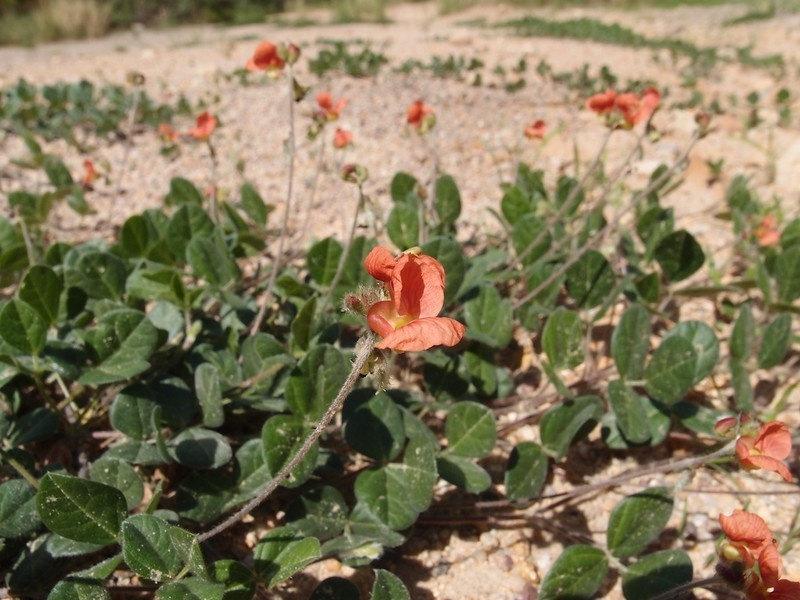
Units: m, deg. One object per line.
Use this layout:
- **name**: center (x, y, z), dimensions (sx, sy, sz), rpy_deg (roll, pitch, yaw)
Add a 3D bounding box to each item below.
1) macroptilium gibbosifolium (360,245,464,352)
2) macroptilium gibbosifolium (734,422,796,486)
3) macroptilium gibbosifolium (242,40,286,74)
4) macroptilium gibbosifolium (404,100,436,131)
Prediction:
- **macroptilium gibbosifolium**: center (0.053, 0.003, 6.716), dimensions (0.253, 0.666, 0.549), rpy_deg (7, 8, 41)
- **macroptilium gibbosifolium**: center (2.198, 0.884, 6.829), dimensions (0.331, 0.293, 0.190), rpy_deg (9, 24, 19)
- **macroptilium gibbosifolium**: center (-0.871, -1.560, 7.293), dimensions (0.272, 0.214, 0.167), rpy_deg (11, 26, 23)
- **macroptilium gibbosifolium**: center (0.133, -1.260, 7.795), dimensions (0.170, 0.292, 0.121), rpy_deg (-2, 22, -4)
